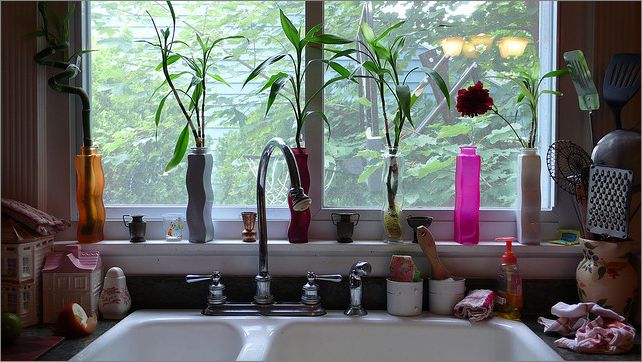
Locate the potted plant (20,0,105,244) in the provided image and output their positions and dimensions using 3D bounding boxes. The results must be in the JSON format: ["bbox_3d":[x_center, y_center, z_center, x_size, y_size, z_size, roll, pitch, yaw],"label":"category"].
[{"bbox_3d":[-1.237,-0.289,2.382,0.304,1.240,0.222,-3,1,-15],"label":"potted plant"}]

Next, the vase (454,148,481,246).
[{"bbox_3d":[0.719,0.073,2.403,0.144,0.349,0.110,-3,1,4],"label":"vase"}]

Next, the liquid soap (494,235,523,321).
[{"bbox_3d":[0.870,0.452,2.278,0.119,0.265,0.090,-2,1,17],"label":"liquid soap"}]

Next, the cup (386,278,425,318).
[{"bbox_3d":[0.396,0.557,2.365,0.204,0.132,0.193,2,-6,0],"label":"cup"}]

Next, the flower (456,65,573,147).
[{"bbox_3d":[0.951,-0.350,2.410,0.606,0.352,0.420,-1,8,19],"label":"flower"}]

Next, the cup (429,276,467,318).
[{"bbox_3d":[0.589,0.511,2.349,0.188,0.160,0.154,-6,27,5],"label":"cup"}]

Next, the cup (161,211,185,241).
[{"bbox_3d":[-0.751,0.242,2.449,0.119,0.123,0.117,-5,-7,-1],"label":"cup"}]

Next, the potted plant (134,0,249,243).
[{"bbox_3d":[-0.634,-0.310,2.439,0.514,1.151,0.334,-3,1,-9],"label":"potted plant"}]
